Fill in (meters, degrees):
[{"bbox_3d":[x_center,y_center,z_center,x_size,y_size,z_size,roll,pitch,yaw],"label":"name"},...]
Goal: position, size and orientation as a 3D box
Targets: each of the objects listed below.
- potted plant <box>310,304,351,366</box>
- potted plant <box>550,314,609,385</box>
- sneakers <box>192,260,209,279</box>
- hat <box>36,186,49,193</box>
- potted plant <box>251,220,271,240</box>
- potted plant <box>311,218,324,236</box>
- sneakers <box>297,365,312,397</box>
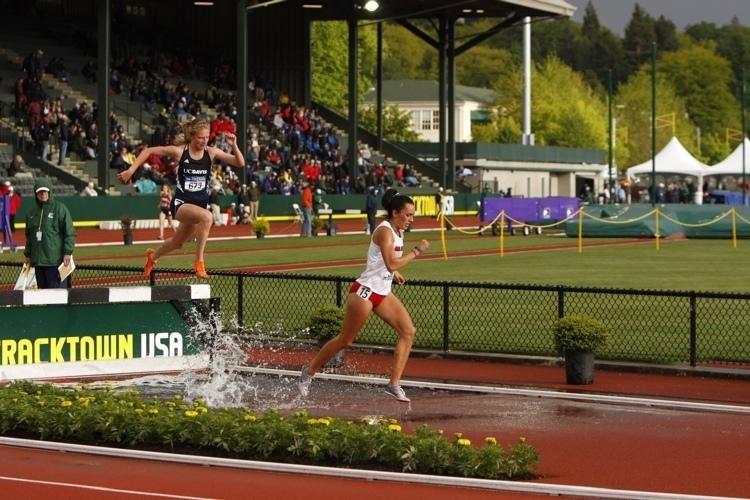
[{"bbox_3d":[-0.773,1.482,18.109,0.808,1.180,0.819,0,2,23],"label":"potted plant"},{"bbox_3d":[3.327,1.601,16.900,0.876,1.208,1.000,3,-4,-9],"label":"potted plant"},{"bbox_3d":[-2.911,0.295,17.338,0.182,0.314,0.354,-1,6,-9],"label":"sneakers"},{"bbox_3d":[-5.650,-1.055,17.684,0.231,0.121,0.264,-4,7,-30],"label":"hat"},{"bbox_3d":[-4.804,-0.911,43.291,0.721,0.867,0.754,4,9,12],"label":"potted plant"},{"bbox_3d":[-2.617,-1.076,46.248,0.711,0.906,0.664,1,-2,-6],"label":"potted plant"},{"bbox_3d":[-1.018,1.923,15.145,0.174,0.583,0.223,-1,1,-14],"label":"sneakers"}]
